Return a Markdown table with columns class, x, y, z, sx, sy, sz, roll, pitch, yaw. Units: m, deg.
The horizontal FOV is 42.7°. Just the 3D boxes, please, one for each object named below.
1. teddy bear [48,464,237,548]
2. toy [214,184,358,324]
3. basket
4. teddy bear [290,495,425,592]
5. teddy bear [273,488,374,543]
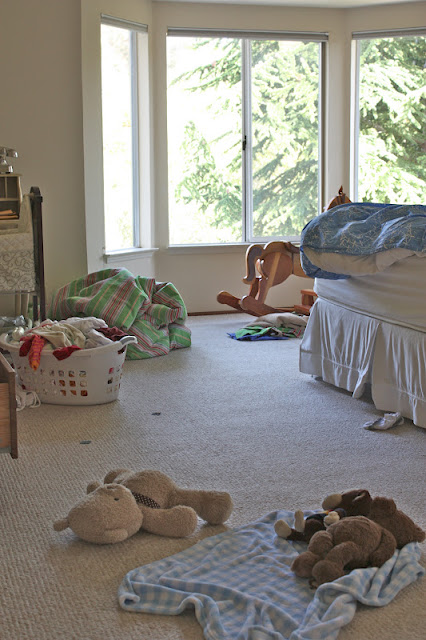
| class | x | y | z | sx | sy | sz | roll | pitch | yaw |
| --- | --- | --- | --- | --- | --- | --- | --- | --- | --- |
| teddy bear | -0.156 | 0.398 | 1.236 | 0.294 | 0.096 | 0.177 | -3 | 4 | -3 |
| toy | 0.672 | -0.497 | 4.124 | 1.156 | 0.924 | 0.265 | -6 | -9 | 29 |
| basket | -0.619 | 0.223 | 2.276 | 0.572 | 0.296 | 0.208 | -1 | 9 | -2 |
| teddy bear | 0.277 | 0.413 | 1.090 | 0.126 | 0.091 | 0.229 | -3 | 8 | 44 |
| teddy bear | 0.254 | 0.441 | 1.189 | 0.178 | 0.073 | 0.134 | -16 | 6 | 32 |
